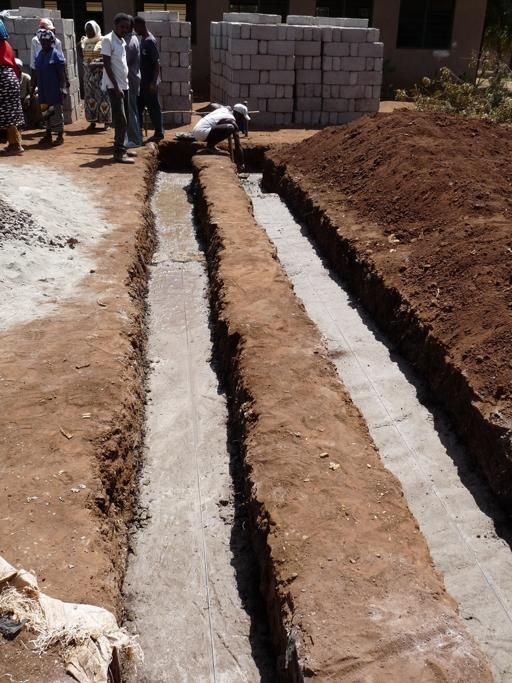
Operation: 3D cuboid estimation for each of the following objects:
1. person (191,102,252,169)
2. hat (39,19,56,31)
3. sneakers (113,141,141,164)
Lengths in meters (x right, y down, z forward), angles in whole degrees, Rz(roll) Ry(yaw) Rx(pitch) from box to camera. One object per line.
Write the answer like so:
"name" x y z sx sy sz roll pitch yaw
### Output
"person" -0.467 -2.969 8.600 0.710 0.984 1.024 3 27 5
"hat" -2.892 -4.414 8.156 0.140 0.170 0.700 -6 27 -13
"sneakers" -1.721 -2.500 7.739 0.289 0.226 0.420 -5 27 -10
